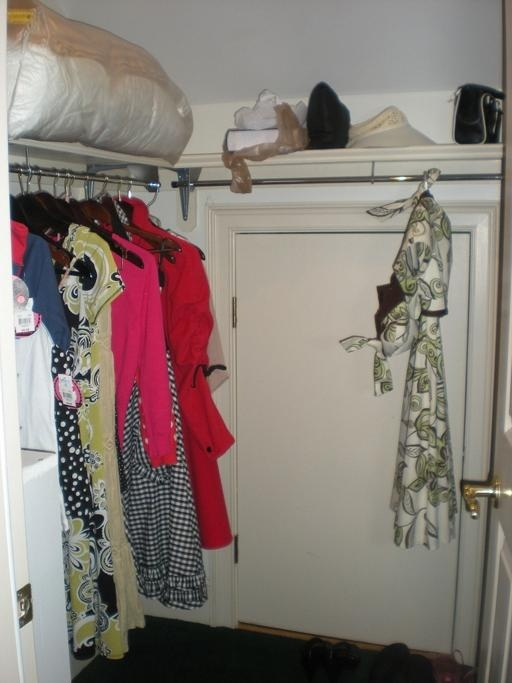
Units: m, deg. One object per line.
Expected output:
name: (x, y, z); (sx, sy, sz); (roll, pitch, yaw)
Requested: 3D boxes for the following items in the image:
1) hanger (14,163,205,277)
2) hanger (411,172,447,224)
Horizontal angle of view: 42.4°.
hanger: (-0.357, -0.340, 1.748); (0.189, 0.235, 0.647); (0, 11, 25)
hanger: (0.423, -0.348, 1.634); (0.078, 0.139, 0.140); (1, 2, 8)
